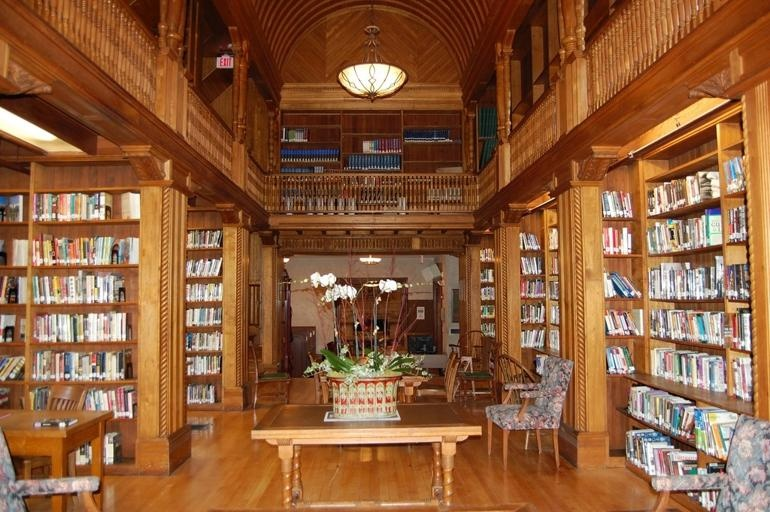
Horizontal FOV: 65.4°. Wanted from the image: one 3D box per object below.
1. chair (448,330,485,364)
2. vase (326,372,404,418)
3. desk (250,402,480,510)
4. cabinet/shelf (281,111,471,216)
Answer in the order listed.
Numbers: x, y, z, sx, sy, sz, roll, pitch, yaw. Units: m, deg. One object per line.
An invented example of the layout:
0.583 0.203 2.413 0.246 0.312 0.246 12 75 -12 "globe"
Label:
1.749 1.758 12.277 0.811 1.051 0.746 -1 -11 6 "chair"
-0.206 1.399 5.848 0.707 0.465 0.420 0 -13 0 "vase"
-0.251 2.034 6.124 2.025 0.999 1.657 1 -9 -14 "desk"
-0.301 -2.029 13.085 4.137 2.434 1.436 -1 5 -2 "cabinet/shelf"
